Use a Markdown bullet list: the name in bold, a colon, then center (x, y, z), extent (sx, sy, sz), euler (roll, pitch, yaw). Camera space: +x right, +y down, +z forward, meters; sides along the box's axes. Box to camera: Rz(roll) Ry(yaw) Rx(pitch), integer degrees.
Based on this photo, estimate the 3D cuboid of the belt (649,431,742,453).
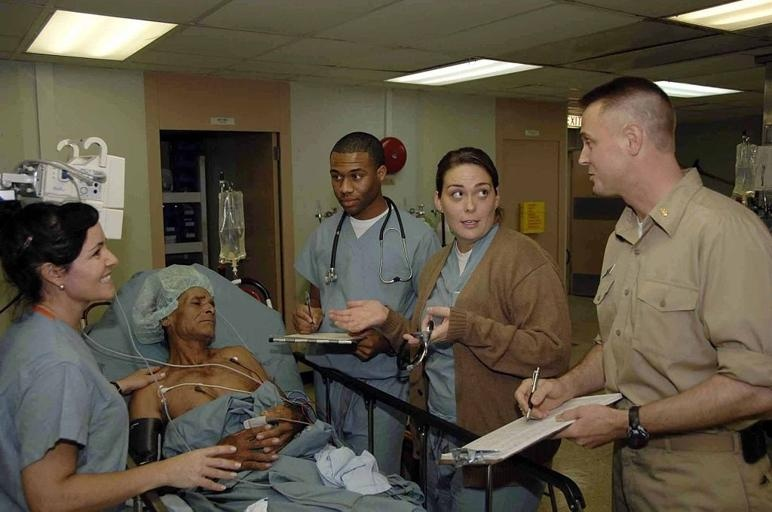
- **belt**: center (1.089, 0.657, 2.064), extent (0.288, 0.091, 0.024), euler (1, 6, 18)
